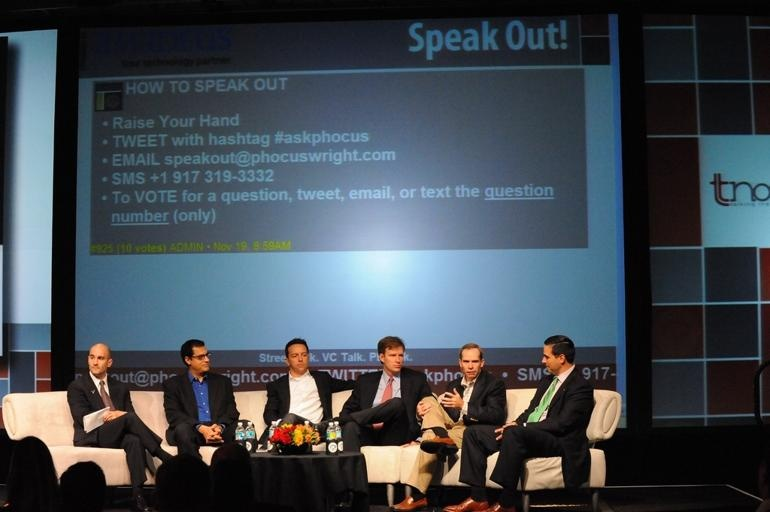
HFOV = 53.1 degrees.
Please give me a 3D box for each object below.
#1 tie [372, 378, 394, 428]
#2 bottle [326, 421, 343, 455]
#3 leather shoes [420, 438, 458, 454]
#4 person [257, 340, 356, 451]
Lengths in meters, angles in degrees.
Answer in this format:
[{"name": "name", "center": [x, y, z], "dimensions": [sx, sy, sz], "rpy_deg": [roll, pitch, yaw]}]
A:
[{"name": "tie", "center": [-0.028, 1.243, 6.741], "dimensions": [0.103, 0.543, 0.137], "rpy_deg": [17, -39, 2]}, {"name": "bottle", "center": [-0.395, 1.426, 6.074], "dimensions": [0.125, 0.215, 0.222], "rpy_deg": [-1, 0, -5]}, {"name": "leather shoes", "center": [0.437, 1.505, 6.193], "dimensions": [0.317, 0.111, 0.132], "rpy_deg": [1, 8, -20]}, {"name": "person", "center": [-0.692, 1.265, 6.962], "dimensions": [0.857, 0.817, 0.708], "rpy_deg": [0, -13, -7]}]
